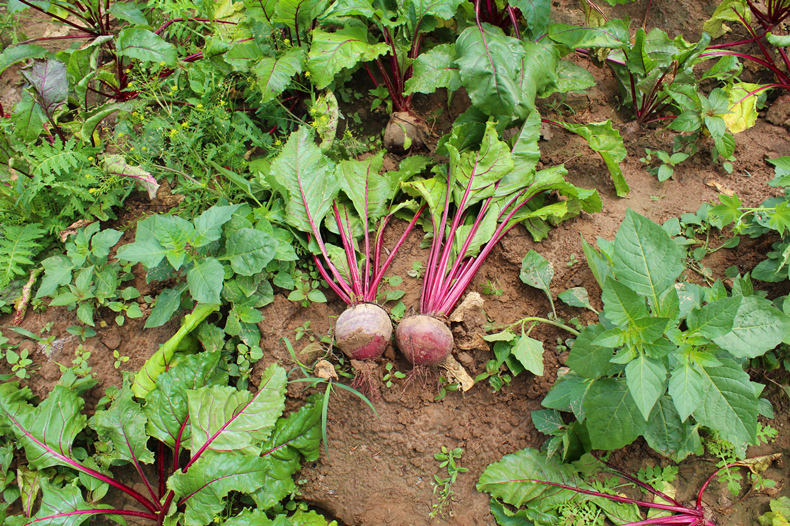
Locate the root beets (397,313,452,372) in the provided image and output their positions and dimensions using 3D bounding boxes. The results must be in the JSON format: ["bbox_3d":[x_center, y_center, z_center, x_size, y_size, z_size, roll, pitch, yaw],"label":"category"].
[{"bbox_3d":[0.174,0.449,3.776,0.362,0.392,0.397,4,98,1],"label":"root beets"}]

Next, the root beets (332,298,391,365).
[{"bbox_3d":[-0.164,0.395,3.595,0.283,0.305,0.321,9,79,-20],"label":"root beets"}]
